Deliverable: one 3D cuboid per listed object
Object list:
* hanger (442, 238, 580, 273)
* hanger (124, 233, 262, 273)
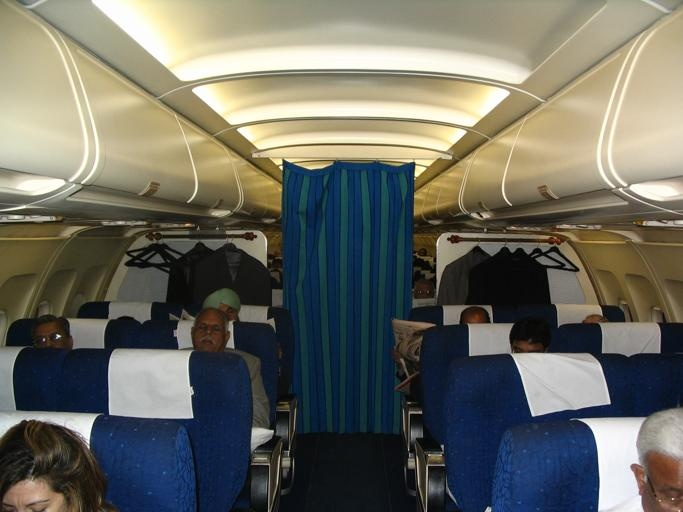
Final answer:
[{"bbox_3d":[2.127,-0.030,5.539,1.411,0.421,0.151,0,-13,-1],"label":"hanger"},{"bbox_3d":[-1.988,-0.089,5.838,1.065,0.346,0.713,0,4,-4],"label":"hanger"}]
